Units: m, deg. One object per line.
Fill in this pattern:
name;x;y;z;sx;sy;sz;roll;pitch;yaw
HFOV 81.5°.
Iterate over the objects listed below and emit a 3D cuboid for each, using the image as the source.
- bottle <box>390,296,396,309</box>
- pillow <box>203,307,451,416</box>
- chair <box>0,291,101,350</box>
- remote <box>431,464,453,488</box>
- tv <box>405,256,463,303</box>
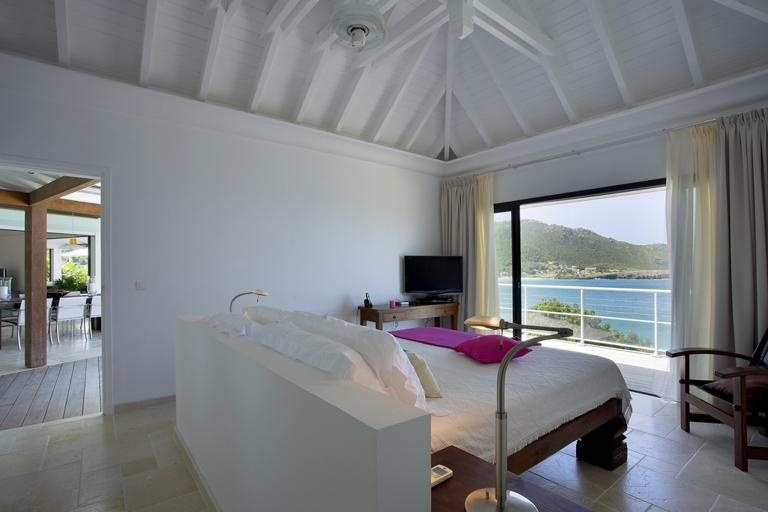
bottle;0.134;0.706;6.599;0.085;0.096;0.085;0;0;-3
pillow;-0.526;0.779;3.435;1.621;0.591;0.605;9;15;35
chair;-5.720;1.112;7.633;0.411;0.710;1.068;2;0;28
remote;0.383;1.392;2.881;0.095;0.048;0.202;11;18;43
tv;0.778;0.344;7.109;0.751;0.556;0.195;1;2;-6
